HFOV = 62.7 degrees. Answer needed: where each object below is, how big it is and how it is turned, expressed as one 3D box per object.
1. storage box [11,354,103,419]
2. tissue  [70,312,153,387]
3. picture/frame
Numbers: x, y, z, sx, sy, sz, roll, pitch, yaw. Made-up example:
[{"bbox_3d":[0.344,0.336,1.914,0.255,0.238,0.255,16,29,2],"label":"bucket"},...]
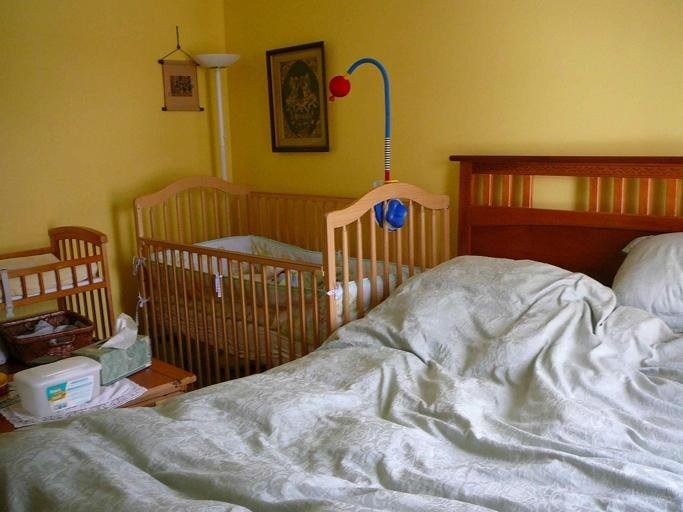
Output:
[{"bbox_3d":[-1.097,0.481,2.157,0.196,0.157,0.258,8,12,41],"label":"storage box"},{"bbox_3d":[-0.993,0.403,2.421,0.191,0.223,0.250,8,18,37],"label":"tissue "},{"bbox_3d":[-0.290,-1.089,3.808,0.736,0.898,0.059,9,18,41],"label":"picture/frame"}]
